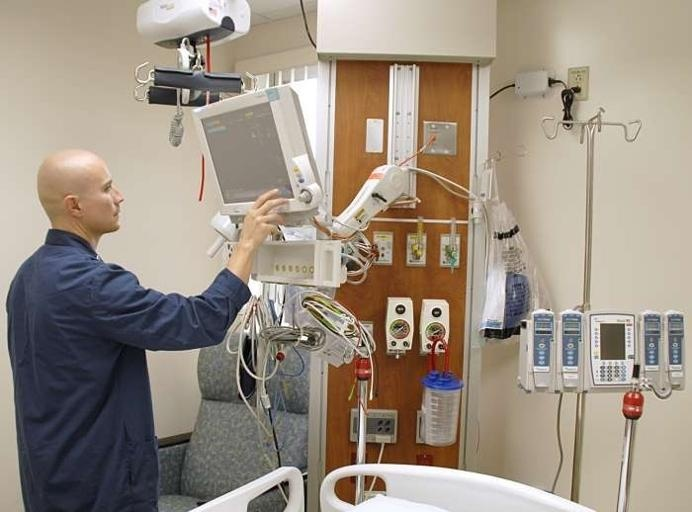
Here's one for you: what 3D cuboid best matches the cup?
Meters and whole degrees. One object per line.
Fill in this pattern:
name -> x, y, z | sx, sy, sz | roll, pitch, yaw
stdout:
cup -> 0.471, 0.769, 3.181 | 0.214, 0.389, 0.304 | 1, 0, 11
